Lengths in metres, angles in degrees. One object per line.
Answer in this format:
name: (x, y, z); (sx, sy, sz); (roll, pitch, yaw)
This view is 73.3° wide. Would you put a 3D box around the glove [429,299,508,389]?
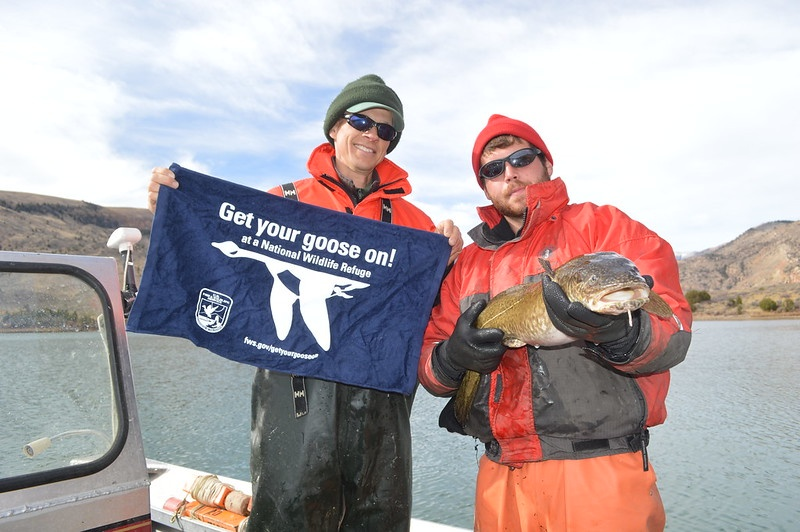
glove: (0.569, 0.768, 4.936); (0.810, 0.267, 0.606); (-38, 14, 30)
